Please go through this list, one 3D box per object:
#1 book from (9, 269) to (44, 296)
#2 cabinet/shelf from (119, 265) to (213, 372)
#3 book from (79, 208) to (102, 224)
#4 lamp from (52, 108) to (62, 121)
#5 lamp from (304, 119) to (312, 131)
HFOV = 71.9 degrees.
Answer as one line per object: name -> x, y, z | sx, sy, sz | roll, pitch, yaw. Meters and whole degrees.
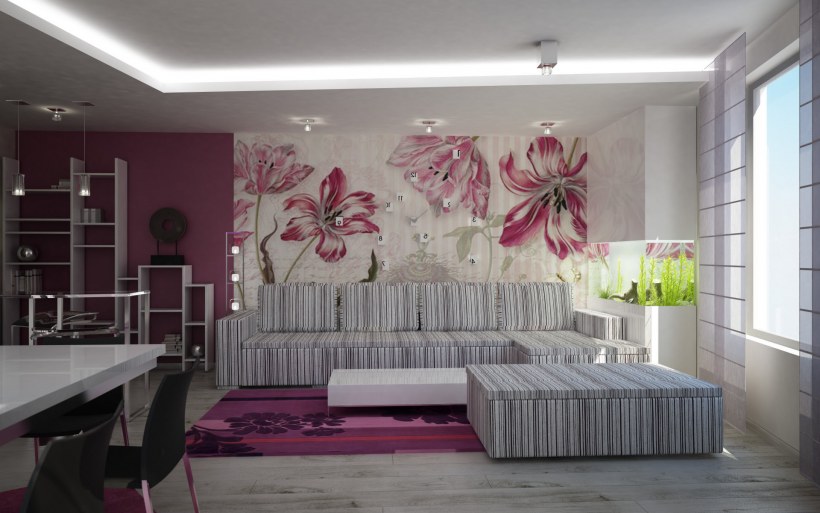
book -> -5.049, 0.340, 7.438 | 0.250, 0.314, 0.332 | -1, 0, -17
cabinet/shelf -> -3.115, 0.799, 7.246 | 1.506, 1.601, 0.488 | 0, -3, -1
book -> -4.278, -0.520, 7.664 | 0.204, 0.256, 0.270 | 1, 0, 10
lamp -> -4.467, -1.788, 7.140 | 0.130, 0.138, 0.126 | -1, -5, -12
lamp -> -1.367, -1.748, 7.549 | 0.100, 0.137, 0.076 | 0, 2, 8
